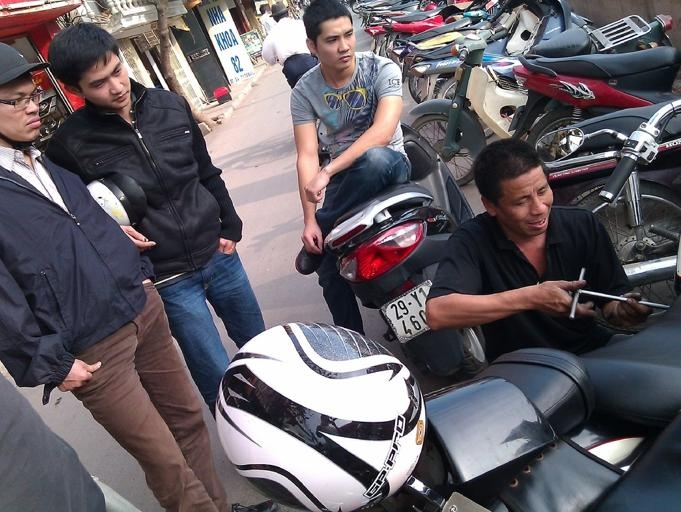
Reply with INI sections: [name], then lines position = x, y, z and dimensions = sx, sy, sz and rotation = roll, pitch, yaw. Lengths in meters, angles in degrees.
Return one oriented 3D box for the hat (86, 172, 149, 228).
[hat]
position = -1.144, -0.288, 2.429
dimensions = 0.213, 0.197, 0.250
rotation = -4, 57, -20
